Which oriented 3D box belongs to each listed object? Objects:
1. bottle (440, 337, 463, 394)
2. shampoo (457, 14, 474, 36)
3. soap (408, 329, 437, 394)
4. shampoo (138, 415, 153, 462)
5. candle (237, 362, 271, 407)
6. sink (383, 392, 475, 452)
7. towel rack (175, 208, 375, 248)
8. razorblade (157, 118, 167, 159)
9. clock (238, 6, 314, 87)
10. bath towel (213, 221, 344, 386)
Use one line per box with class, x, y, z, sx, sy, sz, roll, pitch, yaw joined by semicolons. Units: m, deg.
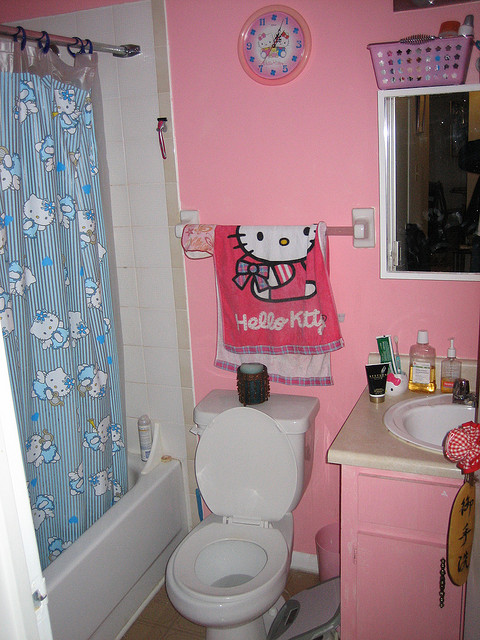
bottle;0.612;0.137;1.639;0.052;0.177;0.041;3;21;27
shampoo;0.567;-0.752;1.427;0.035;0.051;0.046;1;13;23
soap;0.530;0.124;1.656;0.075;0.177;0.088;0;12;18
shampoo;-0.372;0.472;2.222;0.061;0.166;0.093;0;12;18
candle;0.039;0.206;1.850;0.092;0.142;0.104;-4;16;2
sink;0.485;0.251;1.497;0.244;0.125;0.230;0;11;15
towel rack;0.087;-0.294;1.818;0.674;0.159;0.112;1;12;24
razorblade;-0.261;-0.622;1.914;0.033;0.135;0.028;4;13;32
clock;0.115;-0.838;1.690;0.199;0.243;0.017;-1;12;18
bath towel;0.138;-0.064;1.803;0.411;0.597;0.121;2;13;17
